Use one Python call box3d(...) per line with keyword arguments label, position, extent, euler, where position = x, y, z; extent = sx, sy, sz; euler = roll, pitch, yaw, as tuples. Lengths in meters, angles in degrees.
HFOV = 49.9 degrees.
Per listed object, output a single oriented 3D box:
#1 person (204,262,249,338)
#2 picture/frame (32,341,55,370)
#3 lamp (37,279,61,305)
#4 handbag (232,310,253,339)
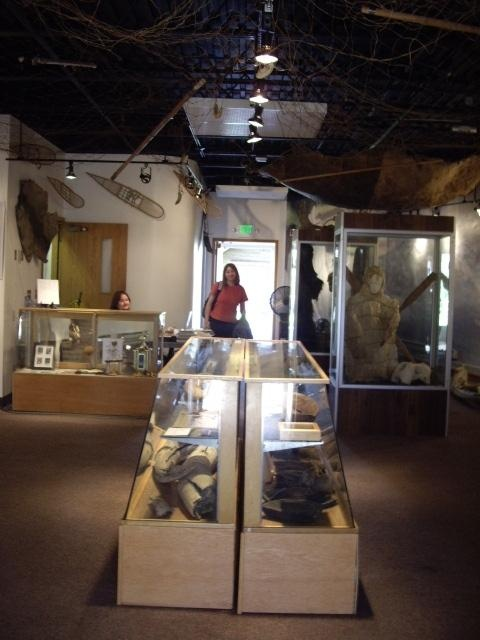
box3d(label="person", position=(-0.180, -0.016, 6.665), extent=(0.555, 1.382, 0.419), euler=(3, 17, -9))
box3d(label="picture/frame", position=(-2.072, 0.375, 5.412), extent=(0.215, 0.282, 0.078), euler=(2, 2, -13))
box3d(label="lamp", position=(-2.204, -0.314, 5.893), extent=(0.214, 0.303, 0.237), euler=(2, 2, -12))
box3d(label="handbag", position=(0.060, 0.077, 6.431), extent=(0.294, 0.484, 0.231), euler=(-3, 5, 2))
